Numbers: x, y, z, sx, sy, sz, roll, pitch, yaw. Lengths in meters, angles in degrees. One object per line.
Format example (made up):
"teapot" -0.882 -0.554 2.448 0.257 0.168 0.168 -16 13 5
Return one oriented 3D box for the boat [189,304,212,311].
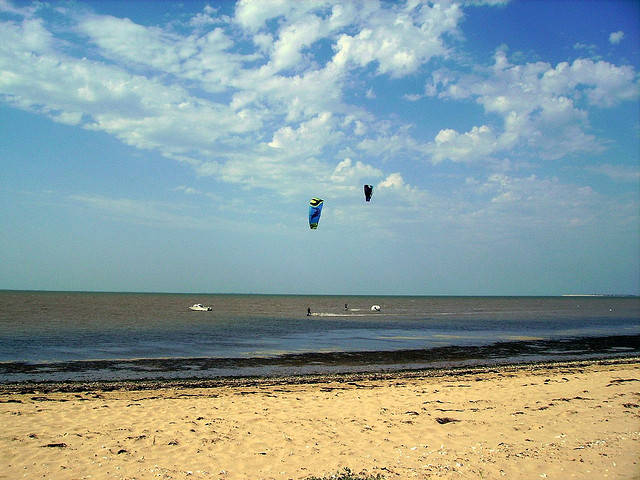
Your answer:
"boat" -20.464 11.808 92.812 4.661 1.335 1.374 4 -7 24
